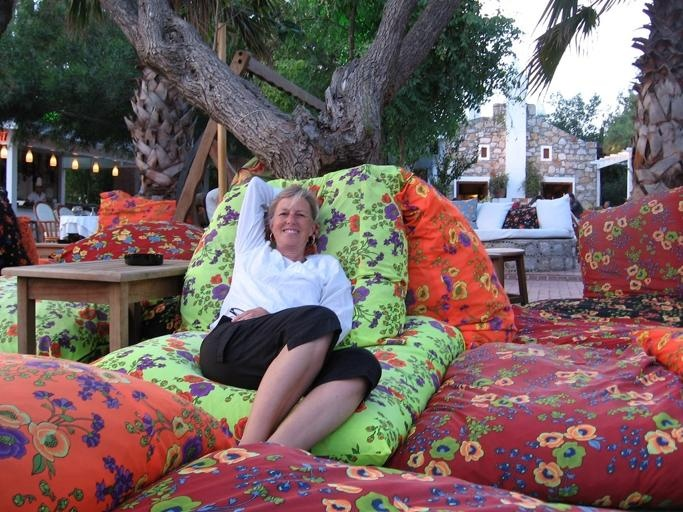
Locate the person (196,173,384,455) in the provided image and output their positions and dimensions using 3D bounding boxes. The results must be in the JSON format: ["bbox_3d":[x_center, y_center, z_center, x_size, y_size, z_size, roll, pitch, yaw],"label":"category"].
[{"bbox_3d":[-0.260,0.168,2.449,0.755,1.157,1.138,0,-2,-19],"label":"person"}]

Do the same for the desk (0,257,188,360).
[{"bbox_3d":[-1.327,0.267,2.961,0.755,0.487,0.695,-2,-2,15],"label":"desk"}]

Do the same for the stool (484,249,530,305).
[{"bbox_3d":[1.740,0.257,5.229,0.426,0.570,0.414,-6,1,-37],"label":"stool"}]
